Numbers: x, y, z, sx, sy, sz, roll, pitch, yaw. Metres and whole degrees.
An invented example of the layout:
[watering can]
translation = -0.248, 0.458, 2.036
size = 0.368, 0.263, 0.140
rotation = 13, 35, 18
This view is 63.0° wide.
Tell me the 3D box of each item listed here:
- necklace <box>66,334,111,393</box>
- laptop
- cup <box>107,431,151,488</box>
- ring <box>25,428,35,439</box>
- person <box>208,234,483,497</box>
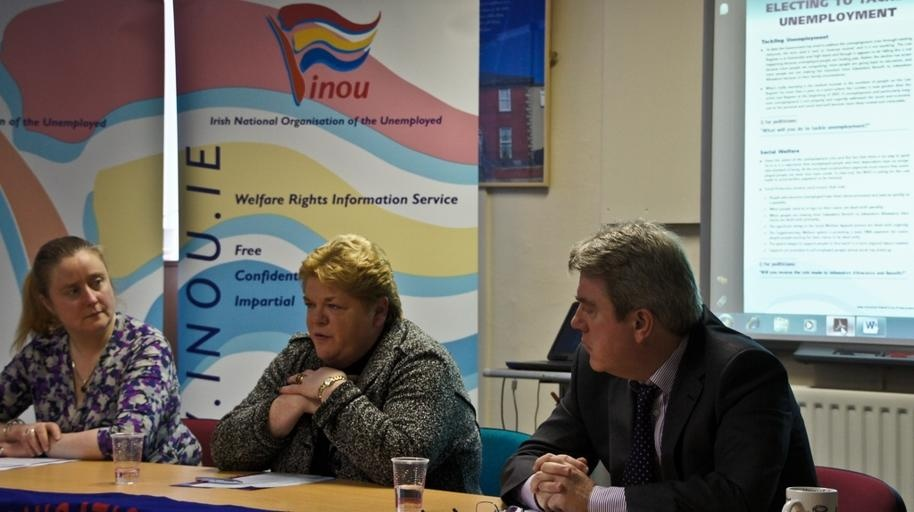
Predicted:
[necklace]
translation = -2.064, 0.601, 4.190
size = 0.180, 0.339, 0.081
rotation = 3, -13, 1
[laptop]
translation = 0.579, 0.530, 4.819
size = 0.439, 0.356, 0.491
rotation = 5, -8, -29
[cup]
translation = -1.523, 0.929, 3.448
size = 0.219, 0.261, 0.206
rotation = 1, -7, 0
[ring]
translation = -2.197, 0.904, 3.860
size = 0.039, 0.050, 0.047
rotation = 33, 21, 25
[person]
translation = -0.572, 0.604, 4.114
size = 0.848, 1.423, 0.882
rotation = 20, -32, -37
